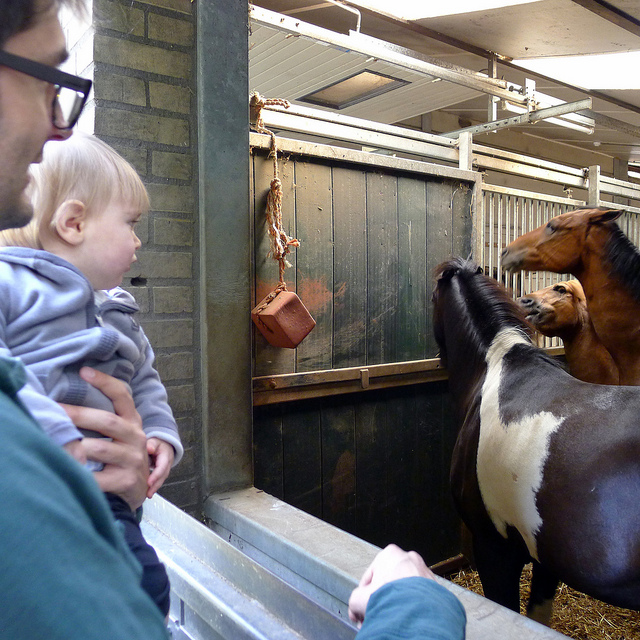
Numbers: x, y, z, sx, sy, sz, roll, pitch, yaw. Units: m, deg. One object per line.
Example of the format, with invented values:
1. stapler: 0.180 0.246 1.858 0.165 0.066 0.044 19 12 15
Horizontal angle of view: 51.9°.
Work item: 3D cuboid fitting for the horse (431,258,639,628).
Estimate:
1. horse: 0.652 0.375 2.118 0.313 1.160 1.115 -1 1 -4
